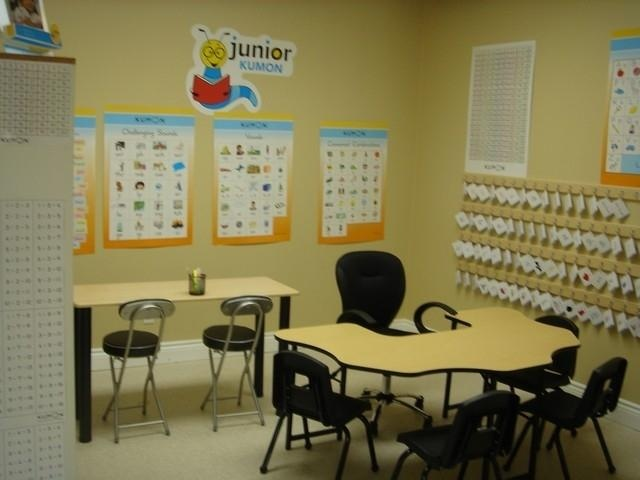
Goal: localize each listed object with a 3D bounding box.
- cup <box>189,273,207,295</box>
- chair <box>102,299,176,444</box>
[{"bbox_3d":[-1.012,0.369,3.971,0.134,0.174,0.173,2,0,28],"label":"cup"},{"bbox_3d":[-1.548,0.896,3.930,0.511,1.115,1.195,-3,10,-26],"label":"chair"}]
